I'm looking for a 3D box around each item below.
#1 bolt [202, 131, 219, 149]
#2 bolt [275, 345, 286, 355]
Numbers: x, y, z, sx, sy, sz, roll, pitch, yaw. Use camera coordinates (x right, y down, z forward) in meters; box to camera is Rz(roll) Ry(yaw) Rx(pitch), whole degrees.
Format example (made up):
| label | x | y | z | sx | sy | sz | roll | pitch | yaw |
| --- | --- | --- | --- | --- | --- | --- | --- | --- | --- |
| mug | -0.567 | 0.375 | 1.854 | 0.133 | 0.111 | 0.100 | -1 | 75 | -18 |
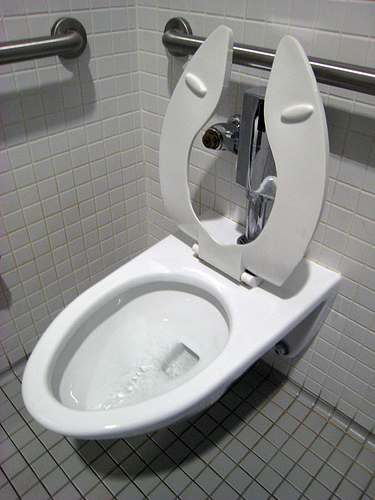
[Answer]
| label | x | y | z | sx | sy | sz | roll | pitch | yaw |
| --- | --- | --- | --- | --- | --- | --- | --- | --- | --- |
| bolt | 0.047 | -0.219 | 0.718 | 0.043 | 0.037 | 0.018 | 24 | 32 | 33 |
| bolt | 0.239 | 0.260 | 0.933 | 0.021 | 0.026 | 0.008 | 32 | 37 | 30 |
